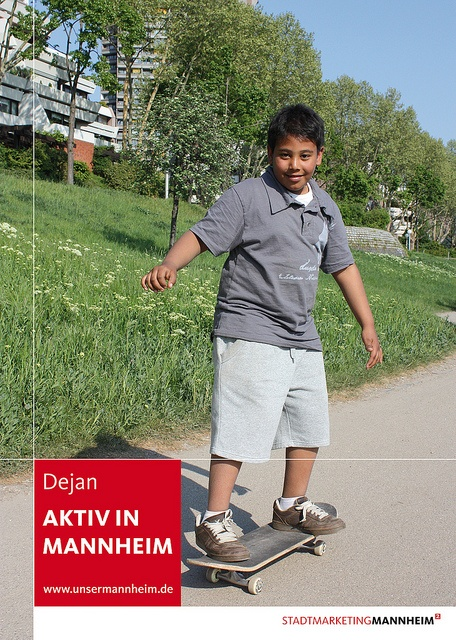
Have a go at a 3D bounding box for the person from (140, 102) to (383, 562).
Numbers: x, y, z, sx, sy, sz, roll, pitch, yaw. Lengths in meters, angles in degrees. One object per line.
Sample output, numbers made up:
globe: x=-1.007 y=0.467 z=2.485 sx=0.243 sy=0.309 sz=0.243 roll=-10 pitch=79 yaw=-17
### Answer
person: x=0.181 y=0.044 z=2.464 sx=0.974 sy=1.770 sz=0.414 roll=-2 pitch=11 yaw=-44

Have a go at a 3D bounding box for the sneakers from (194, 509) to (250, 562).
sneakers: x=-0.033 y=0.815 z=2.367 sx=0.104 sy=0.120 sz=0.285 roll=0 pitch=-2 yaw=-20

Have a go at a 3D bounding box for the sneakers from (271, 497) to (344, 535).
sneakers: x=0.348 y=0.846 z=2.723 sx=0.313 sy=0.123 sz=0.145 roll=2 pitch=10 yaw=5

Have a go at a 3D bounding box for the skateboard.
skateboard: x=0.172 y=0.893 z=2.505 sx=0.198 sy=0.134 sz=0.822 roll=8 pitch=4 yaw=34
